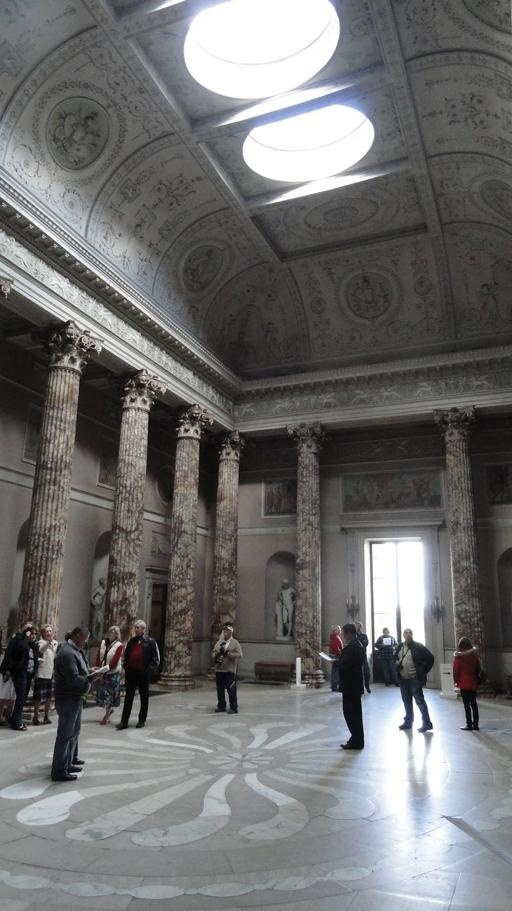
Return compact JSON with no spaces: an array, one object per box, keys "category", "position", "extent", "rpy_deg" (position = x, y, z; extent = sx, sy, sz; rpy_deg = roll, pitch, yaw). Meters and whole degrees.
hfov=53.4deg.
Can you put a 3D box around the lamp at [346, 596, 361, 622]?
[{"category":"lamp","position":[2.971,4.497,15.534],"extent":[0.429,0.770,0.327],"rpy_deg":[-2,-12,20]}]

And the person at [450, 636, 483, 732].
[{"category":"person","position":[3.386,3.524,8.100],"extent":[0.389,1.368,0.682],"rpy_deg":[-3,-12,22]}]

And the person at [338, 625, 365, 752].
[{"category":"person","position":[1.190,2.858,6.503],"extent":[0.319,1.495,0.540],"rpy_deg":[-3,-12,22]}]

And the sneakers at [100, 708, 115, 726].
[{"category":"sneakers","position":[-2.421,4.200,8.383],"extent":[0.147,0.226,0.513],"rpy_deg":[-6,-31,-5]}]

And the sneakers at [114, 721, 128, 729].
[{"category":"sneakers","position":[-1.986,3.938,7.626],"extent":[0.077,0.101,0.225],"rpy_deg":[-2,-28,10]}]

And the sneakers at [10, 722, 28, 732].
[{"category":"sneakers","position":[-3.404,3.860,7.434],"extent":[0.268,0.128,0.095],"rpy_deg":[3,-3,11]}]

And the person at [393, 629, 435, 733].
[{"category":"person","position":[2.537,3.477,8.135],"extent":[0.527,1.478,0.735],"rpy_deg":[-1,-12,18]}]

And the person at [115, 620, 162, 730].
[{"category":"person","position":[-1.849,3.379,8.199],"extent":[0.527,1.601,1.177],"rpy_deg":[5,-12,-11]}]

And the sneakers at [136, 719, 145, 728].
[{"category":"sneakers","position":[-1.738,4.010,7.800],"extent":[0.067,0.140,0.198],"rpy_deg":[-1,-29,5]}]

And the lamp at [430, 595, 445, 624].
[{"category":"lamp","position":[5.262,4.305,14.690],"extent":[0.339,0.680,0.173],"rpy_deg":[-1,-12,17]}]

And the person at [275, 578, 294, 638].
[{"category":"person","position":[0.987,4.858,16.682],"extent":[0.641,1.838,0.401],"rpy_deg":[0,-11,11]}]

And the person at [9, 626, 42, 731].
[{"category":"person","position":[-3.469,3.204,7.629],"extent":[0.284,1.416,0.729],"rpy_deg":[4,-11,-7]}]
